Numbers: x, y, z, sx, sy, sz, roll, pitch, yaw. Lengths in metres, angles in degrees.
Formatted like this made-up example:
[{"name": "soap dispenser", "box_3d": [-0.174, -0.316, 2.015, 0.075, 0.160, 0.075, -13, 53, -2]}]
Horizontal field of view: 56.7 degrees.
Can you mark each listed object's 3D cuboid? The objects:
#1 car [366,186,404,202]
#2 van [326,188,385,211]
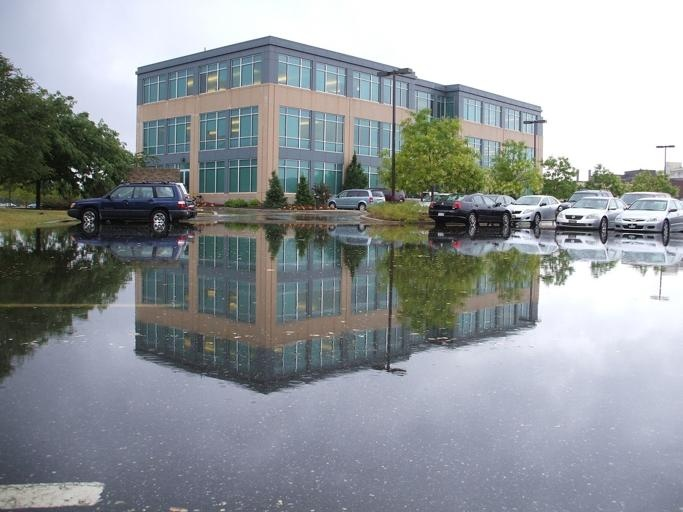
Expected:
[{"name": "car", "box_3d": [3.973, -5.471, 53.724, 2.580, 1.464, 1.553, -2, 3, -2]}, {"name": "van", "box_3d": [1.353, -4.680, 54.537, 1.924, 1.572, 4.023, -4, 9, -44]}]
